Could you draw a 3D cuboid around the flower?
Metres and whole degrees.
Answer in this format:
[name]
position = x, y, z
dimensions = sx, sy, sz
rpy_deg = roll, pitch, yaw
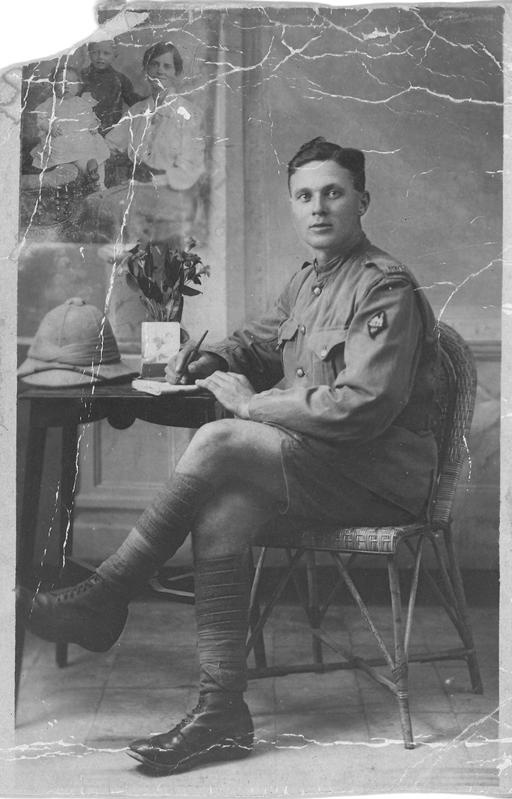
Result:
[flower]
position = -0.187, -0.257, 2.760
dimensions = 0.168, 0.170, 0.171
rpy_deg = -4, -7, 27

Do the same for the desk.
[desk]
position = -0.297, 0.291, 2.939
dimensions = 0.553, 0.833, 0.614
rpy_deg = 2, -5, 7

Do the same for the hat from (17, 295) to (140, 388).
[hat]
position = -0.398, -0.112, 2.714
dimensions = 0.200, 0.128, 0.211
rpy_deg = 2, 17, 4

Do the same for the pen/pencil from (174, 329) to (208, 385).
[pen/pencil]
position = -0.137, -0.086, 2.679
dimensions = 0.017, 0.126, 0.021
rpy_deg = 29, -6, 0
